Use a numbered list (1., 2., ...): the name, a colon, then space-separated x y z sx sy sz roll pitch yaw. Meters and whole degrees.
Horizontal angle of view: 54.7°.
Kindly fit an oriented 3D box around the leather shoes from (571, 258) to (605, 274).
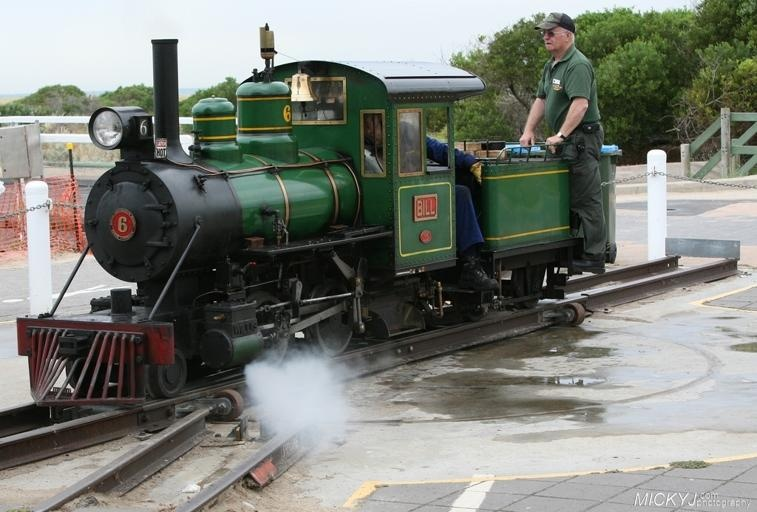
1. leather shoes: 3.227 0.148 11.361 0.618 0.222 0.203 5 4 10

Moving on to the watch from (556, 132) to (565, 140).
1. watch: 2.662 -1.750 10.655 0.123 0.043 0.114 27 11 -23

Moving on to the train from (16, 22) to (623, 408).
1. train: 0.146 -0.628 11.504 3.324 3.918 11.110 0 3 40

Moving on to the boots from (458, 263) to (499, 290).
1. boots: 1.322 0.286 9.964 0.589 0.306 0.302 1 6 2

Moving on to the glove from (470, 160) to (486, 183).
1. glove: 1.353 -1.155 10.048 0.124 0.246 0.213 -14 10 -38
